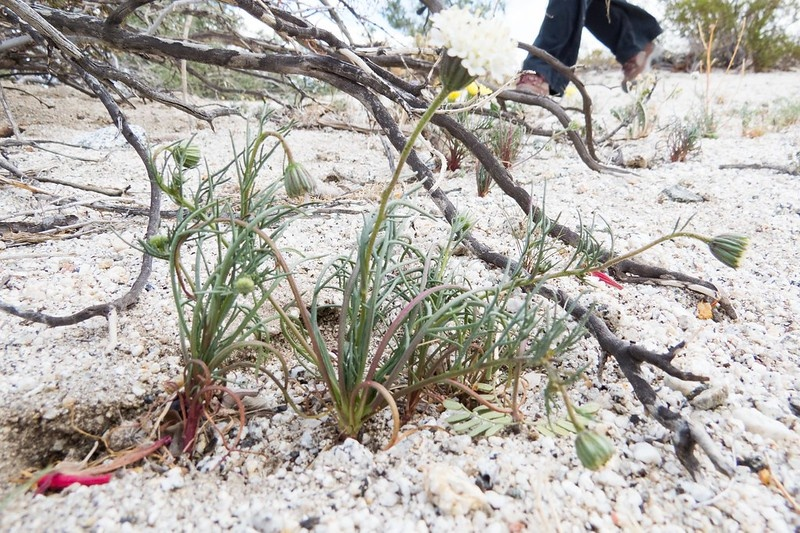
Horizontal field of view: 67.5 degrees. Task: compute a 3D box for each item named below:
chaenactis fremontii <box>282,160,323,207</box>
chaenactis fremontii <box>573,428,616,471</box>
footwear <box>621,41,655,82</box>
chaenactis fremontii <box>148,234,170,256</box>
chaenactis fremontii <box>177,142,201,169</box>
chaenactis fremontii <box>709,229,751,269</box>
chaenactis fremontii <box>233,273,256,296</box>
[{"bbox_3d":[-0.343,-0.266,2.051,0.087,0.068,0.145,-33,88,-38],"label":"chaenactis fremontii"},{"bbox_3d":[0.572,0.543,1.769,0.079,0.070,0.134,-27,30,-9],"label":"chaenactis fremontii"},{"bbox_3d":[1.755,-1.497,4.475,0.086,0.320,0.229,44,7,0],"label":"footwear"},{"bbox_3d":[-0.784,-0.069,1.952,0.062,0.062,0.100,-11,34,-23],"label":"chaenactis fremontii"},{"bbox_3d":[-0.713,-0.374,2.020,0.089,0.055,0.056,-11,-5,38],"label":"chaenactis fremontii"},{"bbox_3d":[1.051,-0.060,1.957,0.134,0.095,0.071,26,16,10],"label":"chaenactis fremontii"},{"bbox_3d":[-0.475,0.044,1.827,0.061,0.066,0.040,2,46,6],"label":"chaenactis fremontii"}]
